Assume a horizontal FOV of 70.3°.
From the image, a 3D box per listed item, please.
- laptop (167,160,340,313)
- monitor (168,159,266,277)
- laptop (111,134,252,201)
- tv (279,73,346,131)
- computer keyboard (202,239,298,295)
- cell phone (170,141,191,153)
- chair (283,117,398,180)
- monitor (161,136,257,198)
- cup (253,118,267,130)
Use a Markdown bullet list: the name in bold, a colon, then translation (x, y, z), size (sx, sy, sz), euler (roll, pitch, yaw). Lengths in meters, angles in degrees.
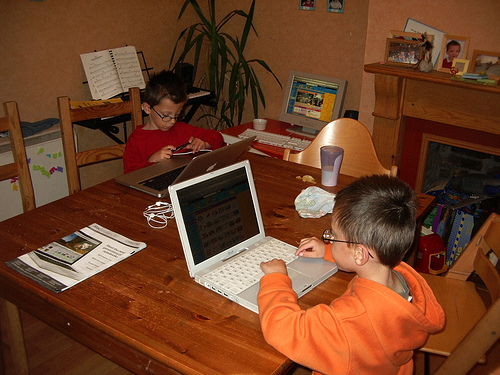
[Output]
- **laptop**: translation (-0.017, 0.176, 1.309), size (0.542, 0.397, 0.484), euler (23, 34, 37)
- **monitor**: translation (-0.087, 0.082, 1.231), size (0.344, 0.212, 0.248), euler (-18, 20, -15)
- **laptop**: translation (-0.358, -0.083, 1.795), size (0.409, 0.229, 0.508), euler (25, 36, 25)
- **tv**: translation (0.528, -0.708, 2.996), size (0.562, 0.522, 0.222), euler (21, 33, 20)
- **computer keyboard**: translation (0.018, 0.274, 1.269), size (0.371, 0.020, 0.150), euler (-19, 33, -38)
- **cell phone**: translation (-0.436, -0.247, 2.193), size (0.036, 0.049, 0.176), euler (-1, 29, 37)
- **chair**: translation (0.604, -0.246, 2.288), size (0.357, 0.493, 0.340), euler (17, 22, 13)
- **monitor**: translation (-0.171, -0.122, 1.633), size (0.311, 0.220, 0.354), euler (24, 40, 28)
- **cup**: translation (0.089, -0.552, 3.108), size (0.102, 0.087, 0.171), euler (16, 28, 26)
